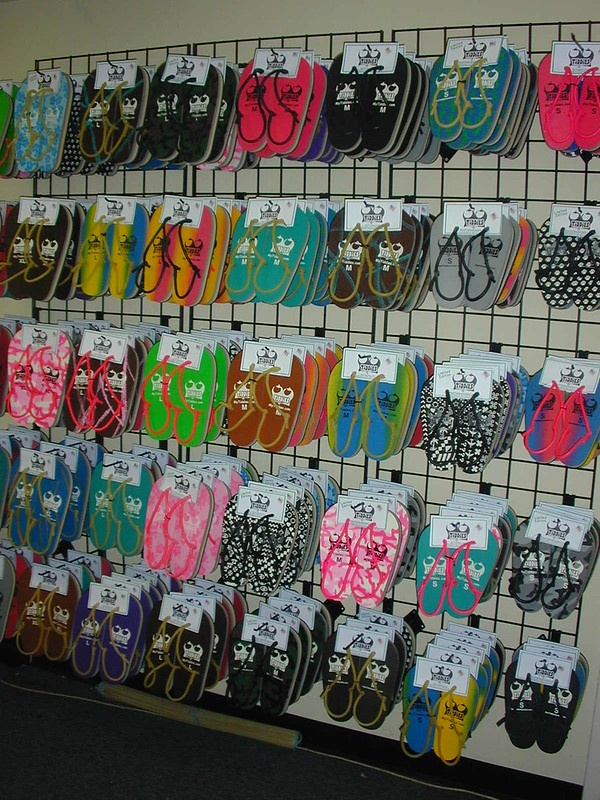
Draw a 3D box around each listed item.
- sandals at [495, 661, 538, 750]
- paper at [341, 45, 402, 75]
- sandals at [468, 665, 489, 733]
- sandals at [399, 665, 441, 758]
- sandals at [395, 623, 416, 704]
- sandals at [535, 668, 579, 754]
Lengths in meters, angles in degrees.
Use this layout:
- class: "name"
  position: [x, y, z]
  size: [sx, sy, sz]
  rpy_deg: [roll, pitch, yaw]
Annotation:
- class: "sandals"
  position: [0.629, 0.888, 1.971]
  size: [0.067, 0.257, 0.135]
  rpy_deg: [1, 6, -28]
- class: "paper"
  position: [0.185, -0.900, 1.785]
  size: [0.153, 0.089, 0.012]
  rpy_deg: [6, 6, 24]
- class: "sandals"
  position: [0.518, 0.867, 1.970]
  size: [0.062, 0.200, 0.057]
  rpy_deg: [5, -3, -14]
- class: "sandals"
  position: [0.349, 0.939, 1.976]
  size: [0.121, 0.273, 0.035]
  rpy_deg: [2, -1, 30]
- class: "sandals"
  position: [0.335, 0.798, 2.066]
  size: [0.075, 0.232, 0.087]
  rpy_deg: [1, 2, 17]
- class: "sandals"
  position: [0.728, 0.900, 1.915]
  size: [0.108, 0.239, 0.053]
  rpy_deg: [6, -4, 14]
